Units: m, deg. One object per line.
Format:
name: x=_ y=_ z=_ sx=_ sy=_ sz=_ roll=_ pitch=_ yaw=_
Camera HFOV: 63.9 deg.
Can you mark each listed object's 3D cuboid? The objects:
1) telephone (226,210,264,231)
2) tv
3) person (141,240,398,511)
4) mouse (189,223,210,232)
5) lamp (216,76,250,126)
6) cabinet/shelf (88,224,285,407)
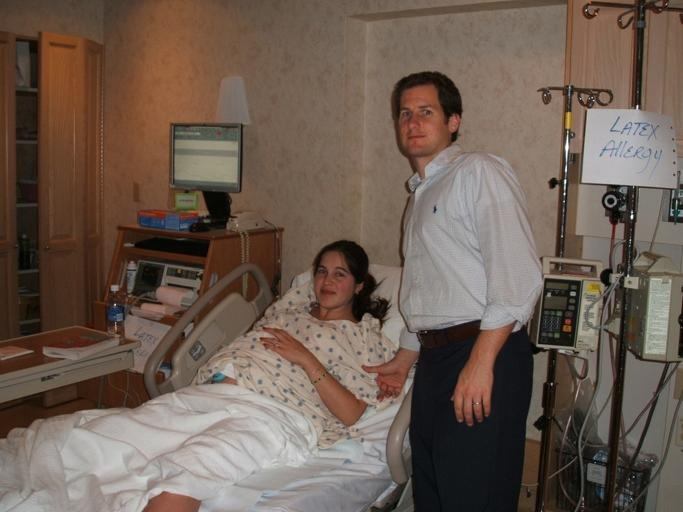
telephone: x=-0.611 y=-0.225 z=3.455 sx=0.193 sy=0.099 sz=0.104 roll=-10 pitch=15 yaw=-43
tv: x=-0.860 y=-0.526 z=3.500 sx=0.649 sy=0.734 sz=0.316 roll=3 pitch=4 yaw=25
person: x=-0.146 y=0.436 z=2.482 sx=0.690 sy=0.600 sz=1.060 roll=24 pitch=41 yaw=32
mouse: x=-0.862 y=-0.175 z=3.357 sx=0.117 sy=0.056 sz=0.072 roll=2 pitch=5 yaw=-24
lamp: x=-0.708 y=-1.040 z=3.660 sx=0.221 sy=0.291 sz=0.233 roll=2 pitch=21 yaw=-12
cabinet/shelf: x=-1.088 y=0.352 z=3.529 sx=0.696 sy=0.984 sz=0.719 roll=8 pitch=10 yaw=11
